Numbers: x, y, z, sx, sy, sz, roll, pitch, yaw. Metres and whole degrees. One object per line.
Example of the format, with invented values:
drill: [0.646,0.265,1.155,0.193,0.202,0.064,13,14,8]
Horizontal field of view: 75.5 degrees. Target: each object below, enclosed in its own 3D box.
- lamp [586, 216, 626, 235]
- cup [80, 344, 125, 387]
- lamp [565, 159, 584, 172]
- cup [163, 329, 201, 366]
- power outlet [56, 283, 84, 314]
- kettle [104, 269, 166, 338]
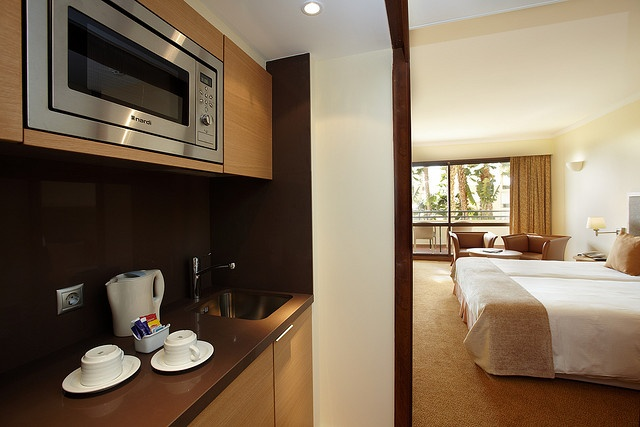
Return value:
lamp: [3.694,0.148,5.417,0.454,0.258,0.222,0,-2,22]
cup: [-1.161,0.804,2.200,0.237,0.158,0.240,1,8,0]
lamp: [3.950,-0.738,6.389,0.107,0.182,0.354,0,2,9]
cup: [-0.761,0.748,2.285,0.195,0.123,0.151,3,-1,9]
power outlet: [-1.422,0.479,2.365,0.013,0.149,0.139,24,25,35]
kettle: [-1.118,0.528,2.542,0.212,0.353,0.358,9,15,36]
